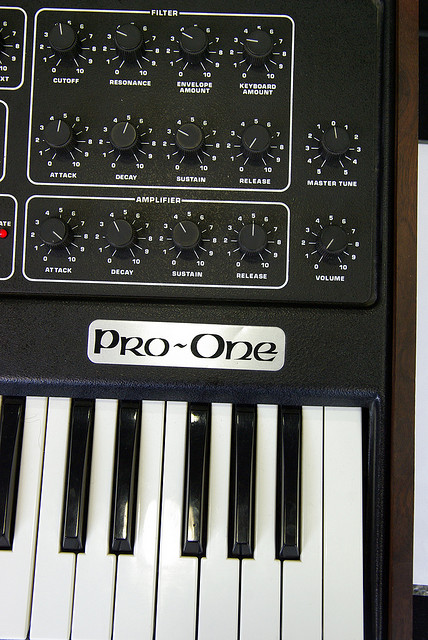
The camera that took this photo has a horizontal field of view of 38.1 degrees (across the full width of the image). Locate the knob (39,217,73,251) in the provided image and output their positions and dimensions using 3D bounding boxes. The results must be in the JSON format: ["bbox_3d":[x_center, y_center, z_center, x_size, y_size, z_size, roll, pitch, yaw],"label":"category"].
[{"bbox_3d":[-0.242,-0.133,0.944,0.052,0.044,0.037,4,-24,-4],"label":"knob"}]

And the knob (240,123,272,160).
[{"bbox_3d":[0.064,-0.279,0.944,0.048,0.054,0.035,0,-23,5],"label":"knob"}]

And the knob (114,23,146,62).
[{"bbox_3d":[-0.130,-0.425,0.945,0.041,0.058,0.040,-6,-2,-4],"label":"knob"}]

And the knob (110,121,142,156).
[{"bbox_3d":[-0.133,-0.277,0.935,0.036,0.053,0.031,0,6,0],"label":"knob"}]

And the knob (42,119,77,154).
[{"bbox_3d":[-0.238,-0.284,0.952,0.054,0.048,0.034,0,-23,4],"label":"knob"}]

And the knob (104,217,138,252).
[{"bbox_3d":[-0.140,-0.128,0.927,0.036,0.052,0.027,-4,3,3],"label":"knob"}]

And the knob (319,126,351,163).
[{"bbox_3d":[0.182,-0.266,0.933,0.038,0.054,0.030,-4,-4,0],"label":"knob"}]

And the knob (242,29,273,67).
[{"bbox_3d":[0.066,-0.418,0.952,0.047,0.038,0.032,-1,-24,6],"label":"knob"}]

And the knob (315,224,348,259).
[{"bbox_3d":[0.177,-0.123,0.936,0.050,0.052,0.038,-4,-24,12],"label":"knob"}]

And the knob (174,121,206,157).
[{"bbox_3d":[-0.036,-0.281,0.944,0.049,0.055,0.034,4,-23,-4],"label":"knob"}]

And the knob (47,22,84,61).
[{"bbox_3d":[-0.230,-0.430,0.950,0.041,0.060,0.046,-3,5,-7],"label":"knob"}]
